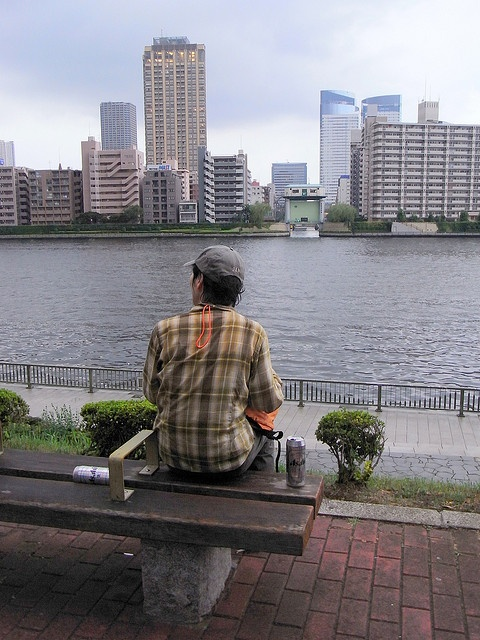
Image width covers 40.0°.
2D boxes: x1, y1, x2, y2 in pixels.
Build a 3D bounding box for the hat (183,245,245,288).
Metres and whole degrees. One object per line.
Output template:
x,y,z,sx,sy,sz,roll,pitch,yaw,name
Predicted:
-0.133,-0.308,3.391,0.233,0.146,0.176,22,20,37,hat
